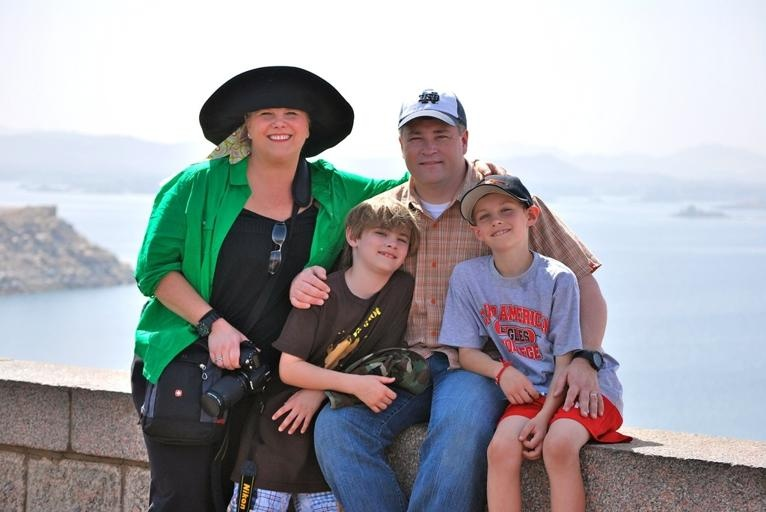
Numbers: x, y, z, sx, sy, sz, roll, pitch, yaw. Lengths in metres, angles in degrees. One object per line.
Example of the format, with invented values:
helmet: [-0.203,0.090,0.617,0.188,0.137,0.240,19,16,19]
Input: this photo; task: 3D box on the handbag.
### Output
handbag: [-1.114,0.794,4.254,0.502,0.606,0.343,-1,-33,11]

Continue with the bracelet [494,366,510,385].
bracelet: [0.675,0.677,4.297,0.024,0.090,0.083,39,-30,3]

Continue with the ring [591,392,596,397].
ring: [1.168,0.764,4.153,0.041,0.024,0.017,3,2,10]

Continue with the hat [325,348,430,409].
hat: [-0.013,0.696,4.391,0.494,0.320,0.194,-10,-49,-2]
